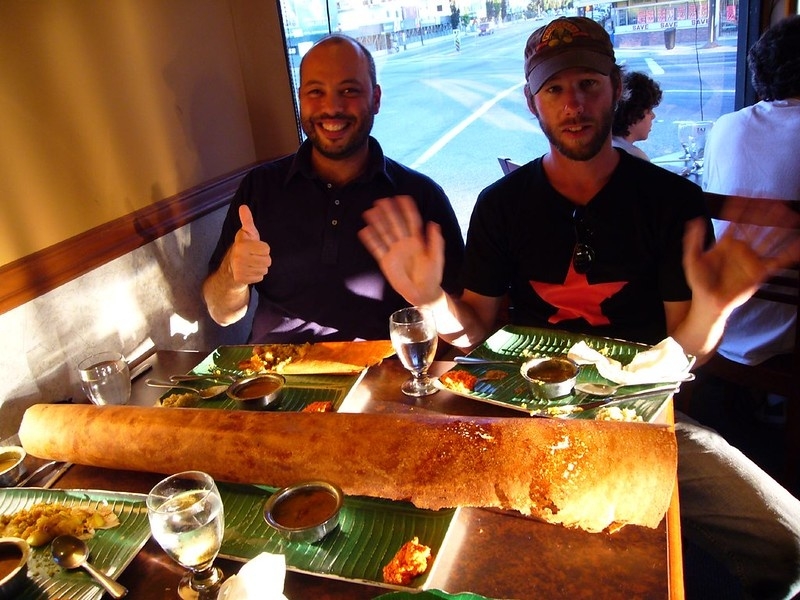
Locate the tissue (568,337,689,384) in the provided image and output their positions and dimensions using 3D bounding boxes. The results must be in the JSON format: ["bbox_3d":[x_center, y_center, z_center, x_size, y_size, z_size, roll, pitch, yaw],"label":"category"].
[{"bbox_3d":[0.669,0.186,1.556,0.190,0.066,0.184,-11,12,20],"label":"tissue"}]

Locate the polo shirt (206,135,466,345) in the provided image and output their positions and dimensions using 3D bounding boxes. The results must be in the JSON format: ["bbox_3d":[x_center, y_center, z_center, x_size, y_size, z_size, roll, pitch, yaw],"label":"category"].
[{"bbox_3d":[-0.313,-0.227,2.334,1.025,0.895,0.445,2,6,2],"label":"polo shirt"}]

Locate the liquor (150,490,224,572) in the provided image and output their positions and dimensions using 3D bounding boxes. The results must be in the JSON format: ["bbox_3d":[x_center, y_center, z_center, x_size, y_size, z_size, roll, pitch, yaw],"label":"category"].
[{"bbox_3d":[-0.426,0.457,1.111,0.118,0.135,0.128,-24,2,34],"label":"liquor"}]

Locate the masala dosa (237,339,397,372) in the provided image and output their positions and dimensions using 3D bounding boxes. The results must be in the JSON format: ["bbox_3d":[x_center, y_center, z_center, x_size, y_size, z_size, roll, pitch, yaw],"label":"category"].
[{"bbox_3d":[-0.261,0.189,1.855,0.277,0.041,0.159,-7,17,20],"label":"masala dosa"}]

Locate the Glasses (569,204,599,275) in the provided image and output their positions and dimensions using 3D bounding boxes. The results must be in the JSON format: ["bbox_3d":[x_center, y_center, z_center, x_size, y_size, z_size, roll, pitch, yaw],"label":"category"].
[{"bbox_3d":[0.687,-0.228,2.043,0.082,0.234,0.084,-2,5,16],"label":"Glasses"}]

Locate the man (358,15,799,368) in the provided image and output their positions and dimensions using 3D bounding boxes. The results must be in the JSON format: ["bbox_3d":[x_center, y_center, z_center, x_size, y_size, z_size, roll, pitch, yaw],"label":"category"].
[{"bbox_3d":[0.782,-0.493,2.334,1.399,1.522,0.803,-13,1,20],"label":"man"}]

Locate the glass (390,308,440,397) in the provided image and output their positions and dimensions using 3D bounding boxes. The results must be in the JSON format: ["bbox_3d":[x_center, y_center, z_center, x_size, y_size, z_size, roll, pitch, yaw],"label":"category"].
[{"bbox_3d":[0.042,0.160,1.639,0.141,0.225,0.137,13,39,39],"label":"glass"}]
